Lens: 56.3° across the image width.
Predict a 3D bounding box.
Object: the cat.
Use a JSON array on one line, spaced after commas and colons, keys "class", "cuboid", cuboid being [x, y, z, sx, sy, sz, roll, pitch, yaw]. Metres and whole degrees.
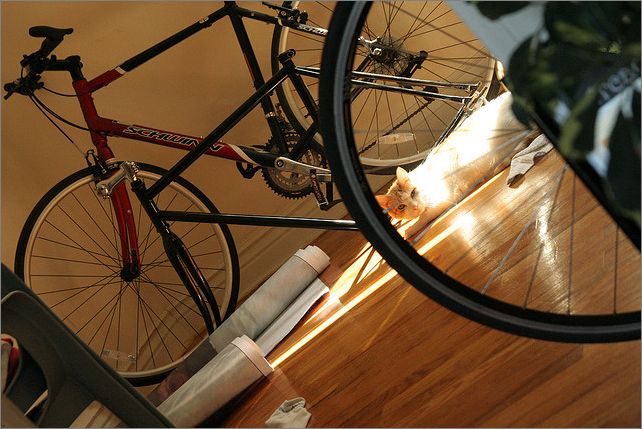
[{"class": "cat", "cuboid": [0.489, -0.180, 2.202, 0.644, 0.155, 0.393, -43, 13, 5]}]
